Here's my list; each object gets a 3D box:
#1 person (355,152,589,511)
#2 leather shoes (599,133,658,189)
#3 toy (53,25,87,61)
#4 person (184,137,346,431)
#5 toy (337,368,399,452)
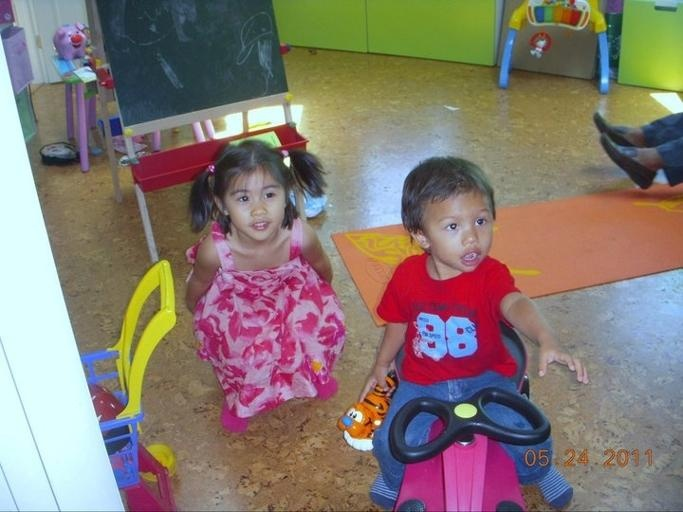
[{"bbox_3d":[0.268,0.241,1.222,0.517,0.840,0.357,8,23,26],"label":"person"},{"bbox_3d":[1.368,-0.428,2.593,0.256,0.253,0.170,2,21,11],"label":"leather shoes"},{"bbox_3d":[-1.555,-1.199,3.117,0.185,0.197,0.184,-11,22,-22],"label":"toy"},{"bbox_3d":[-0.235,0.066,1.659,0.481,0.806,0.346,-9,21,-17],"label":"person"},{"bbox_3d":[0.073,0.421,1.465,0.115,0.228,0.083,35,18,30],"label":"toy"}]
